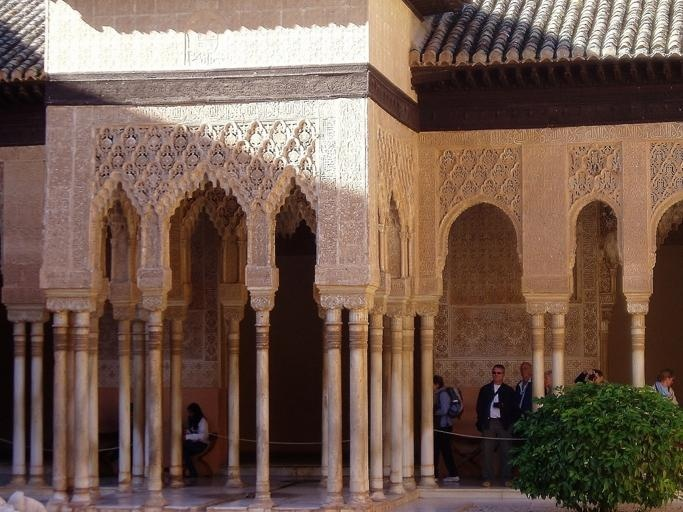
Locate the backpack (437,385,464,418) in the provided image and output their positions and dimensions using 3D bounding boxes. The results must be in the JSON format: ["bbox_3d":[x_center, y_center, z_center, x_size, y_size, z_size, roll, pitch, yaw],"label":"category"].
[{"bbox_3d":[1.402,1.837,19.379,0.352,0.502,0.374,-2,-8,-1],"label":"backpack"}]

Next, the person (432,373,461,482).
[{"bbox_3d":[1.327,2.166,19.341,0.341,1.316,0.249,-2,-10,6],"label":"person"}]

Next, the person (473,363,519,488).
[{"bbox_3d":[1.925,2.111,19.216,0.501,1.527,0.835,-1,-10,3],"label":"person"}]

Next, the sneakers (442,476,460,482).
[{"bbox_3d":[1.360,2.779,19.172,0.190,0.069,0.179,-1,-10,5],"label":"sneakers"}]

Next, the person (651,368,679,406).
[{"bbox_3d":[3.790,1.534,18.255,0.244,0.419,0.716,-3,-10,13],"label":"person"}]

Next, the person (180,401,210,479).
[{"bbox_3d":[-1.842,2.361,19.822,0.331,0.979,0.566,0,-10,-5],"label":"person"}]
